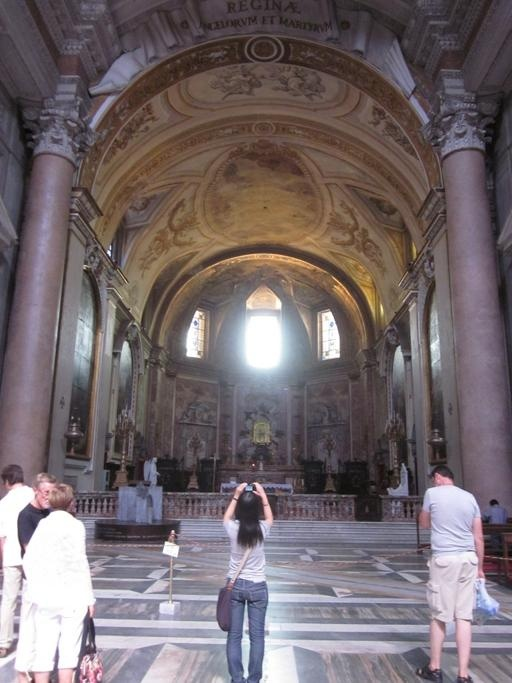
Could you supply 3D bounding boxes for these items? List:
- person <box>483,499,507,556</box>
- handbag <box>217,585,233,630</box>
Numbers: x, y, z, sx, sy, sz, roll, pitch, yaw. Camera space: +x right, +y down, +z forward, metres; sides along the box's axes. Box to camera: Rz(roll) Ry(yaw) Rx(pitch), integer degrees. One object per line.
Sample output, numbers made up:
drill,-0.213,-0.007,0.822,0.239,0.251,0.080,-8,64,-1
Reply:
person,3.574,2.773,7.025,0.357,0.729,1.109,-6,-12,24
handbag,-0.150,1.283,2.300,0.065,0.175,0.109,0,-11,-3
